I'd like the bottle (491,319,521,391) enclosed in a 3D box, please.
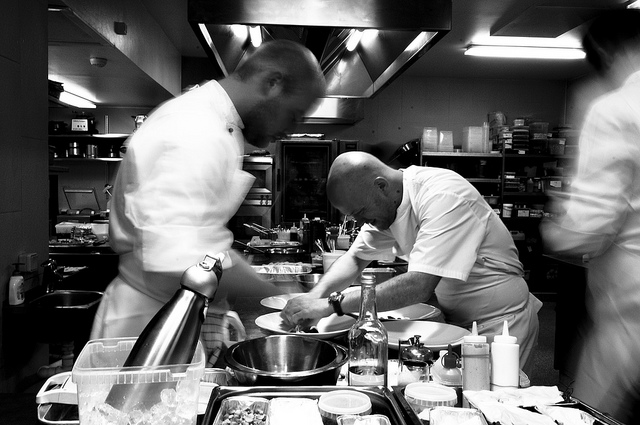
[{"bbox_3d":[0.767,0.569,2.240,0.173,0.273,0.082,0,3,-30],"label":"bottle"}]

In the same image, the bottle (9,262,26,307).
[{"bbox_3d":[-1.989,0.464,3.646,0.092,0.275,0.132,0,3,-25],"label":"bottle"}]

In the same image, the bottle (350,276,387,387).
[{"bbox_3d":[0.206,0.561,2.283,0.156,0.606,0.157,-1,2,0],"label":"bottle"}]

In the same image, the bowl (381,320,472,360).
[{"bbox_3d":[0.513,0.607,2.682,0.419,0.112,0.376,2,2,6],"label":"bowl"}]

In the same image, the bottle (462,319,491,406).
[{"bbox_3d":[0.630,0.572,2.223,0.121,0.263,0.080,1,3,-13],"label":"bottle"}]

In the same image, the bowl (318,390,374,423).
[{"bbox_3d":[0.099,0.717,2.071,0.211,0.086,0.111,2,2,0],"label":"bowl"}]

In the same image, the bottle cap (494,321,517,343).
[{"bbox_3d":[0.756,0.481,2.281,0.088,0.096,0.089,1,-5,-6],"label":"bottle cap"}]

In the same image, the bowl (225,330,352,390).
[{"bbox_3d":[-0.117,0.649,2.347,0.485,0.212,0.497,-1,-1,0],"label":"bowl"}]

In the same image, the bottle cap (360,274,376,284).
[{"bbox_3d":[0.188,0.256,2.187,0.040,0.035,0.041,0,-3,11],"label":"bottle cap"}]

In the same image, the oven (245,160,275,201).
[{"bbox_3d":[-0.796,-0.437,7.718,0.556,0.534,0.393,2,3,25],"label":"oven"}]

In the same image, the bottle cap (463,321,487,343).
[{"bbox_3d":[0.630,0.487,2.280,0.089,0.092,0.090,0,-7,4],"label":"bottle cap"}]

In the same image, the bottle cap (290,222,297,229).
[{"bbox_3d":[-0.275,0.134,6.012,0.054,0.061,0.054,1,0,-8],"label":"bottle cap"}]

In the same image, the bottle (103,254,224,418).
[{"bbox_3d":[-0.545,0.419,1.950,0.385,0.546,0.136,1,3,-7],"label":"bottle"}]

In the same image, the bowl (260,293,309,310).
[{"bbox_3d":[-0.226,0.487,3.126,0.174,0.054,0.253,2,2,18],"label":"bowl"}]
